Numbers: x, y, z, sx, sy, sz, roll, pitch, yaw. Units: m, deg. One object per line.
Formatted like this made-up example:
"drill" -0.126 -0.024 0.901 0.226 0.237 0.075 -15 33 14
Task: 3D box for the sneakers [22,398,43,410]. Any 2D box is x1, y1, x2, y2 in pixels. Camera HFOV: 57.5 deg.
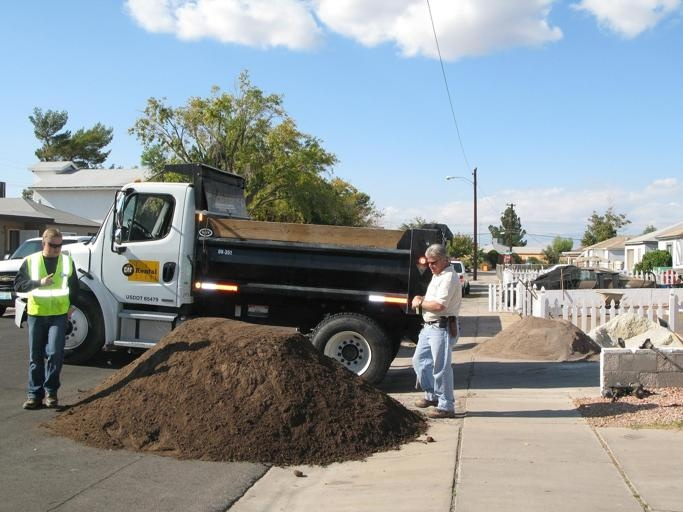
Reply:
"sneakers" -3.977 1.897 8.089 0.276 0.127 0.108 9 -1 -15

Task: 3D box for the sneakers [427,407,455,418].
"sneakers" 1.281 1.995 7.973 0.274 0.122 0.153 9 -3 -8

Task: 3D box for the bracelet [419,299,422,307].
"bracelet" 1.023 0.590 8.032 0.041 0.116 0.096 10 -6 2

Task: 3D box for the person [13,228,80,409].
"person" -3.879 0.796 8.257 0.745 2.297 0.746 -4 7 -37

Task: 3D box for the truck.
"truck" -1.770 0.281 10.782 6.550 3.308 2.972 5 2 2

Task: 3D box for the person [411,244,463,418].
"person" 1.230 0.947 8.013 0.569 2.170 0.415 1 5 12

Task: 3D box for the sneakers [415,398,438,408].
"sneakers" 1.131 1.933 8.274 0.301 0.143 0.117 7 3 6
